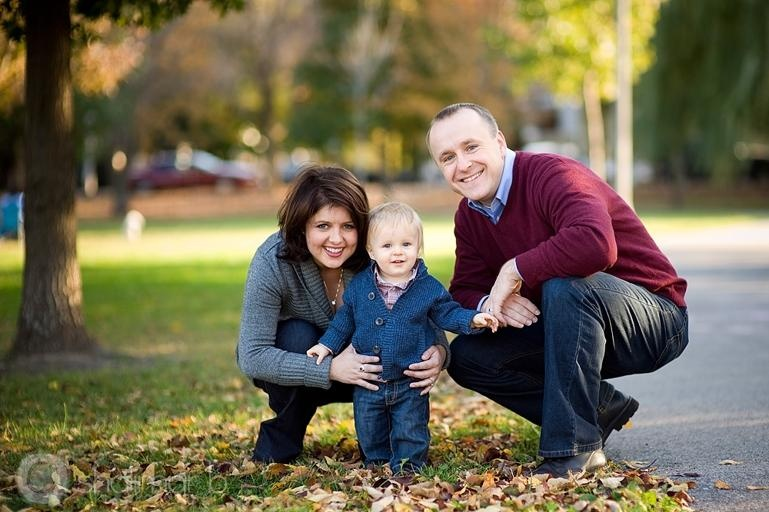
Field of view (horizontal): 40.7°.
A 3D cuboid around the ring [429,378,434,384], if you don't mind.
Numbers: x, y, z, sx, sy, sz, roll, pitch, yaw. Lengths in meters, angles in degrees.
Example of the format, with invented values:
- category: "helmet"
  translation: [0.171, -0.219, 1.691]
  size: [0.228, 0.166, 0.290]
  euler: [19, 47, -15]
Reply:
- category: "ring"
  translation: [0.422, 1.093, 9.015]
  size: [0.033, 0.027, 0.034]
  euler: [-1, -2, 0]

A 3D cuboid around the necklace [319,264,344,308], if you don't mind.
- category: "necklace"
  translation: [-0.446, 0.279, 9.254]
  size: [0.197, 0.360, 0.077]
  euler: [-4, -1, -33]

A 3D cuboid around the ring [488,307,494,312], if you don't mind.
- category: "ring"
  translation: [0.928, 0.468, 9.010]
  size: [0.024, 0.044, 0.043]
  euler: [25, -13, -35]
